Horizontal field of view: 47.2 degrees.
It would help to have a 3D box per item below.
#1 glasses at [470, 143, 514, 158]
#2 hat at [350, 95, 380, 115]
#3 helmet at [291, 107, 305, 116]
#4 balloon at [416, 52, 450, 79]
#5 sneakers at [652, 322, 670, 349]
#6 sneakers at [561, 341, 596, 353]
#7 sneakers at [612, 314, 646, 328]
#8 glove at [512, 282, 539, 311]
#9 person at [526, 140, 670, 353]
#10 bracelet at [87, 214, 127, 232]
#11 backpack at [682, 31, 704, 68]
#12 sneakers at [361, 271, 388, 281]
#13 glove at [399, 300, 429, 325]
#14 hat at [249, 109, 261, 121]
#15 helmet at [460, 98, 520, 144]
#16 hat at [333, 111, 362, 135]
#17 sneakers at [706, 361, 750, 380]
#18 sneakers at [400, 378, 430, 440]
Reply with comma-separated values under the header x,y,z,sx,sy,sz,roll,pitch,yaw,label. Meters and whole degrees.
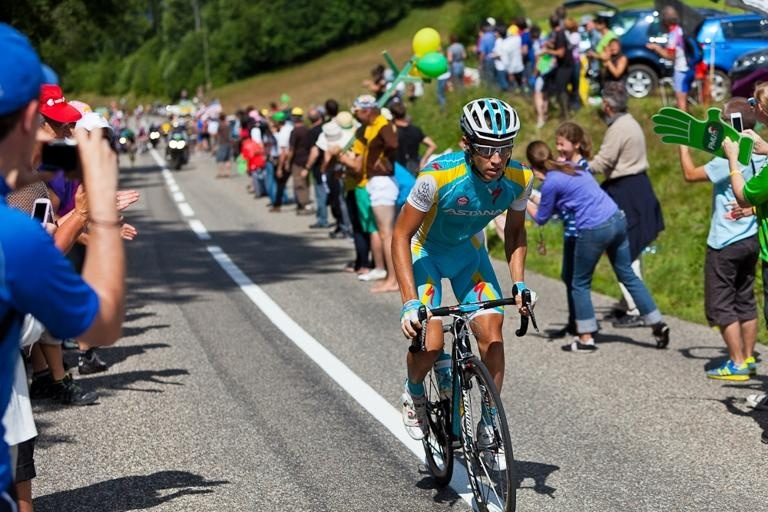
x,y,z,sx,sy,sz,roll,pitch,yaw,label
0.806,-0.795,6.617,0.316,0.145,0.160,-5,14,6,glasses
-0.269,-2.086,12.001,0.353,0.208,0.395,-6,14,-2,hat
-1.799,-2.998,18.290,0.237,0.278,0.252,1,4,-13,helmet
0.717,-2.902,13.349,0.453,0.376,0.345,4,-2,36,balloon
3.038,0.861,9.658,0.167,0.311,0.197,-2,13,14,sneakers
2.139,1.002,9.692,0.367,0.173,0.144,3,10,15,sneakers
2.920,0.786,10.551,0.400,0.210,0.166,3,4,10,sneakers
1.049,0.273,6.656,0.138,0.251,0.106,2,-36,-22,glove
2.303,-0.106,9.732,1.357,2.301,0.750,-3,12,9,person
-1.555,-0.178,4.839,0.140,0.058,0.111,-2,8,27,bracelet
6.130,-4.120,17.474,0.279,0.680,0.643,1,15,27,backpack
-0.150,0.275,12.695,0.411,0.202,0.149,0,2,0,sneakers
0.218,0.418,6.567,0.194,0.144,0.229,-7,14,-4,glove
-3.403,-3.720,23.164,0.352,0.219,0.306,9,-20,25,hat
0.789,-1.012,6.614,0.420,0.326,0.281,-4,13,9,helmet
-0.566,-2.025,13.324,0.372,0.114,0.382,-27,60,-28,hat
3.402,1.138,8.731,0.419,0.214,0.160,3,3,21,sneakers
0.239,1.293,7.182,0.163,0.538,0.213,-6,-12,-11,sneakers
